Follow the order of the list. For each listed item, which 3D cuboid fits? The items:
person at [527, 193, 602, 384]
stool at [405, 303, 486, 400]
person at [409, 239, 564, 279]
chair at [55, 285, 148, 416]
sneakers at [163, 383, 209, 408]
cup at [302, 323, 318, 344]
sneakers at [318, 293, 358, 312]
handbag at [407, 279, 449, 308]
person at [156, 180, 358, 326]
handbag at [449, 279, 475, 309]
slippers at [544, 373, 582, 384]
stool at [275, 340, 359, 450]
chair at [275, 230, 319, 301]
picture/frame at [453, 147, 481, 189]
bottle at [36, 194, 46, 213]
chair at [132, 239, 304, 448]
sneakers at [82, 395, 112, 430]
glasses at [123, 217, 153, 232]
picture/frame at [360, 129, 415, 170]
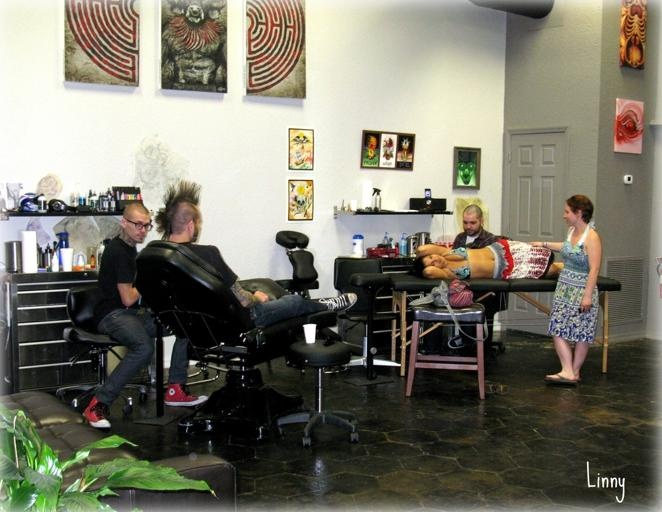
[{"bbox_3d":[2.264,0.318,5.293,0.399,1.726,0.326,4,7,22],"label":"person"},{"bbox_3d":[1.066,0.786,5.306,0.860,0.866,0.940,1,0,11],"label":"stool"},{"bbox_3d":[1.733,0.023,5.946,1.686,0.380,0.722,0,17,10],"label":"person"},{"bbox_3d":[-1.813,0.727,4.585,0.802,0.868,0.737,3,-1,26],"label":"chair"},{"bbox_3d":[-1.182,1.159,4.774,0.461,0.215,0.169,0,-1,-11],"label":"sneakers"},{"bbox_3d":[-0.150,0.559,4.082,0.131,0.124,0.123,0,4,0],"label":"cup"},{"bbox_3d":[0.039,0.392,4.548,0.388,0.113,0.131,-7,8,-3],"label":"sneakers"},{"bbox_3d":[0.861,0.336,5.014,0.306,0.120,0.226,-6,1,2],"label":"handbag"},{"bbox_3d":[-0.566,0.062,4.497,0.757,1.180,1.679,4,7,44],"label":"person"},{"bbox_3d":[1.164,0.344,5.063,0.259,0.230,0.248,1,3,3],"label":"handbag"},{"bbox_3d":[2.162,1.152,5.320,0.304,0.094,0.114,3,2,12],"label":"slippers"},{"bbox_3d":[-0.061,0.964,4.057,0.588,0.609,0.563,1,-3,22],"label":"stool"},{"bbox_3d":[-0.380,0.099,6.150,0.503,0.677,0.486,-2,12,-21],"label":"chair"},{"bbox_3d":[1.778,-1.173,7.568,0.633,0.714,0.083,-2,4,-30],"label":"picture/frame"},{"bbox_3d":[-2.555,-0.457,5.026,0.066,0.164,0.117,-2,7,-27],"label":"bottle"},{"bbox_3d":[-0.712,0.598,4.143,0.906,1.198,1.299,-9,-9,39],"label":"chair"},{"bbox_3d":[-1.687,1.126,4.116,0.280,0.156,0.105,12,-6,44],"label":"sneakers"},{"bbox_3d":[-1.541,-0.254,4.479,0.217,0.061,0.220,6,6,-43],"label":"glasses"},{"bbox_3d":[0.693,-1.299,7.063,0.817,0.454,0.024,12,17,41],"label":"picture/frame"}]
